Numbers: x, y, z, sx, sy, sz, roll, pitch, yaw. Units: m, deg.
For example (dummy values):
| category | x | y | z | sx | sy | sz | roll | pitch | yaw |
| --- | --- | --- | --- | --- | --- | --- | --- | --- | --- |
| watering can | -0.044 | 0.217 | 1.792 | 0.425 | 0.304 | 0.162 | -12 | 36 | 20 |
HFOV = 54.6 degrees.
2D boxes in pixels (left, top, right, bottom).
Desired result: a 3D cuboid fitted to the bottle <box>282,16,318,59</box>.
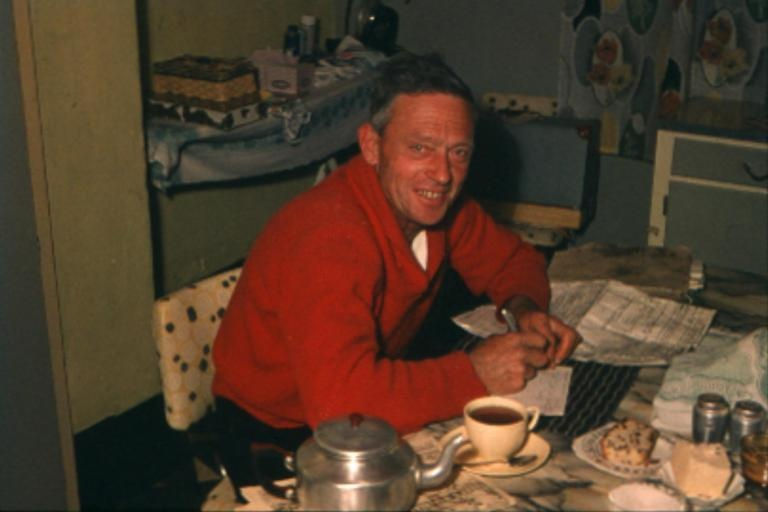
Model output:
| category | x | y | z | sx | sy | sz | roll | pitch | yaw |
| --- | --- | --- | --- | --- | --- | --- | --- | --- | --- |
| bottle | -0.397 | -1.047 | 3.553 | 0.169 | 0.200 | 0.315 | -2 | 13 | -6 |

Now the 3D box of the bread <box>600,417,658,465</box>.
| category | x | y | z | sx | sy | sz | roll | pitch | yaw |
| --- | --- | --- | --- | --- | --- | --- | --- | --- | --- |
| bread | 0.592 | 0.454 | 1.803 | 0.103 | 0.032 | 0.103 | -19 | 41 | 1 |

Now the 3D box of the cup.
| category | x | y | z | sx | sy | sz | roll | pitch | yaw |
| --- | --- | --- | --- | --- | --- | --- | --- | --- | --- |
| cup | 0.268 | 0.404 | 1.797 | 0.180 | 0.115 | 0.136 | -3 | 12 | -16 |
